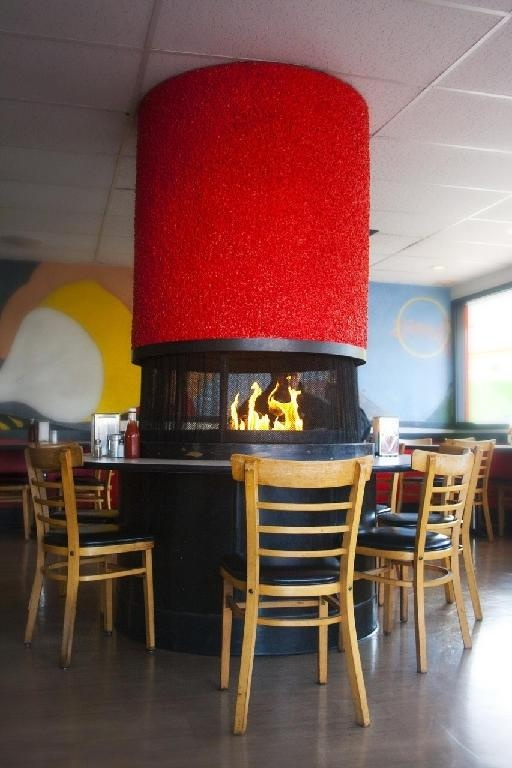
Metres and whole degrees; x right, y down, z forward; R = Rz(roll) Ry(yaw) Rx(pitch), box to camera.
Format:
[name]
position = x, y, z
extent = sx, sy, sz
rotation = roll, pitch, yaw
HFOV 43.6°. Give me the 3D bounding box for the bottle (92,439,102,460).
[bottle]
position = -0.813, 0.335, 3.263
extent = 0.060, 0.113, 0.061
rotation = 0, -4, 0
